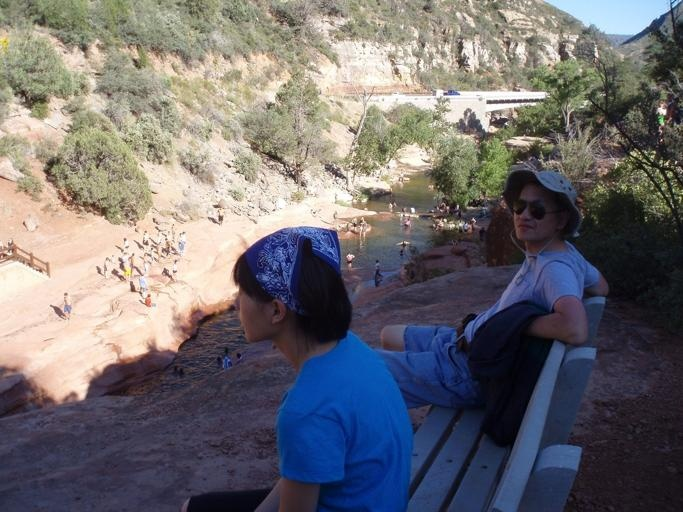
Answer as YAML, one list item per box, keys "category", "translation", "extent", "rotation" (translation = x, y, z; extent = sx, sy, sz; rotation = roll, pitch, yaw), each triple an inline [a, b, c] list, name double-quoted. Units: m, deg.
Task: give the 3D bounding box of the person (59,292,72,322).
- category: "person"
  translation: [-9.588, 1.721, 16.567]
  extent: [0.443, 0.926, 1.334]
  rotation: [-14, 6, -30]
